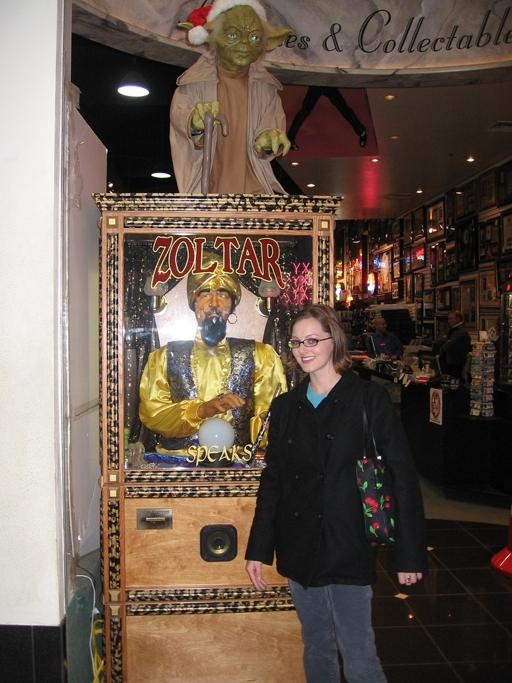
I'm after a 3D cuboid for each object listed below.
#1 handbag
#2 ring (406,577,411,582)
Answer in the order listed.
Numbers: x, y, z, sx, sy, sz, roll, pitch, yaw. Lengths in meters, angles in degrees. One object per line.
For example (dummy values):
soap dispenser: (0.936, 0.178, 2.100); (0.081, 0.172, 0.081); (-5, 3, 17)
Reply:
handbag: (0.339, 0.457, 1.693); (0.109, 0.282, 0.197); (-11, -13, 11)
ring: (0.424, 0.666, 1.678); (0.010, 0.020, 0.009); (0, -8, 0)
